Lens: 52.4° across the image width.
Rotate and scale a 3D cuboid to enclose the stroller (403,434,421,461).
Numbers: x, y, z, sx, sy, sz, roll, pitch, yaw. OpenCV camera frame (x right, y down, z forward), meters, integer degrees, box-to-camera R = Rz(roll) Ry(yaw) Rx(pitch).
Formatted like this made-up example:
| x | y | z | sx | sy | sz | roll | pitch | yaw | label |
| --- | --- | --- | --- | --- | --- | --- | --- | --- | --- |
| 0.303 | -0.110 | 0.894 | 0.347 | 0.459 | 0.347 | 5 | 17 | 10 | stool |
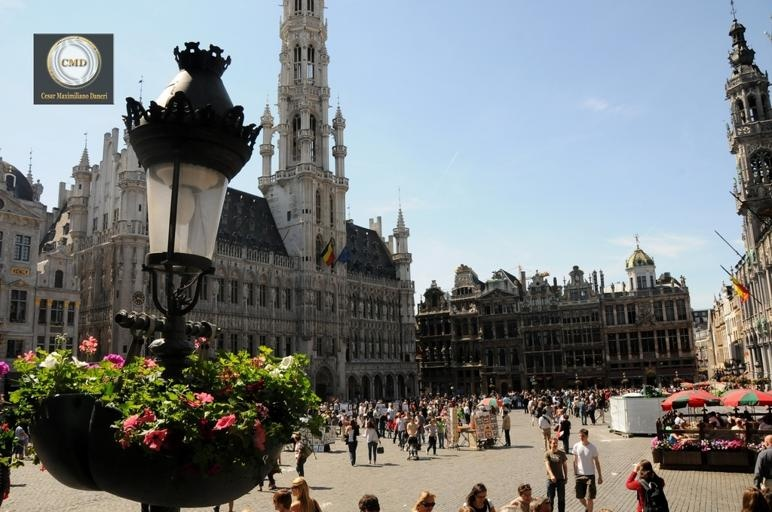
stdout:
| x | y | z | sx | sy | sz | roll | pitch | yaw | label |
| --- | --- | --- | --- | --- | --- | --- | --- | --- | --- |
| 1.162 | 8.349 | 34.672 | 0.630 | 1.230 | 0.765 | -3 | 22 | 9 | stroller |
